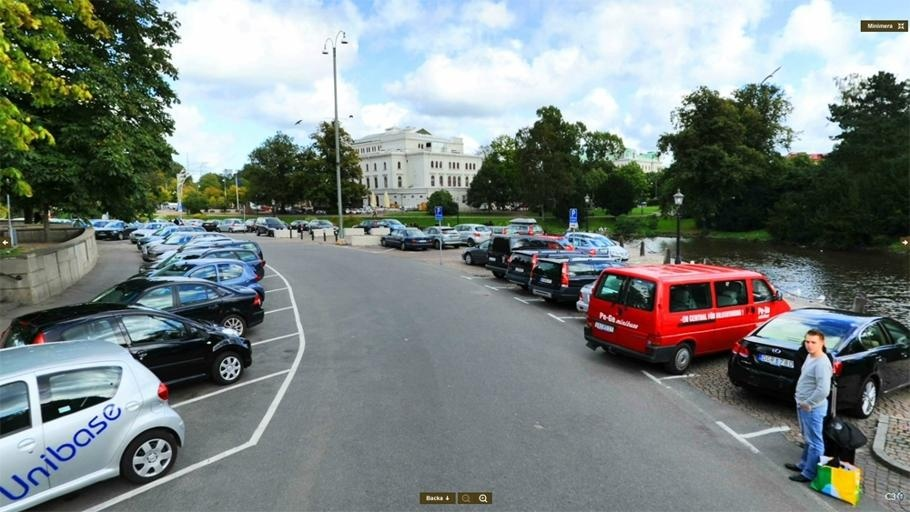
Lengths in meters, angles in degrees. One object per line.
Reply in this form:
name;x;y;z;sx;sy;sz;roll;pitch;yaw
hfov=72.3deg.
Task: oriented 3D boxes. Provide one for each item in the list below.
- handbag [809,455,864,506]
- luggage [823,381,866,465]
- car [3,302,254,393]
handbag;9.614;5.754;15.775;1.144;0.832;0.632;6;7;39
luggage;9.972;4.342;16.036;0.918;2.009;0.590;0;6;-12
car;-9.434;2.514;18.678;5.919;2.192;2.883;-2;5;-35
